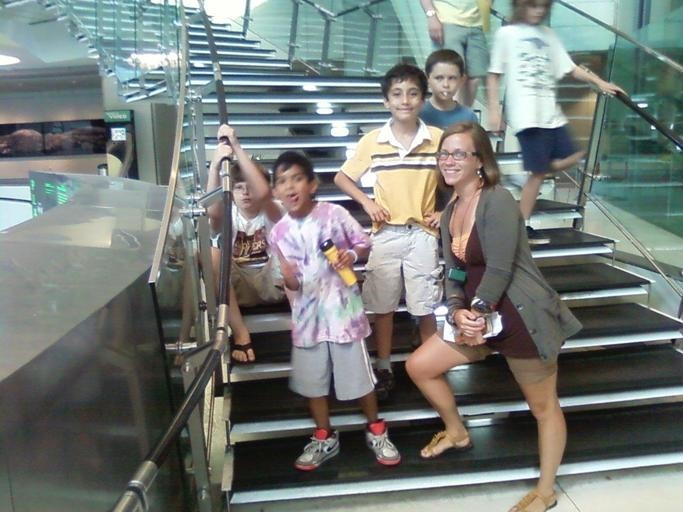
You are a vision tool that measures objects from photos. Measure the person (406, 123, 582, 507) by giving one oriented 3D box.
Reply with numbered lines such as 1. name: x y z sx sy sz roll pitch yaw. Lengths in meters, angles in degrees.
1. person: 0.655 0.301 2.329 0.646 1.732 0.381 7 18 35

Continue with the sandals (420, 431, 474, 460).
1. sandals: 0.506 0.913 2.589 0.243 0.100 0.108 -13 14 5

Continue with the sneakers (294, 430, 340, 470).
1. sneakers: -0.111 0.916 2.521 0.102 0.140 0.281 6 11 36

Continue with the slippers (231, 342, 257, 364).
1. slippers: -0.516 0.500 2.811 0.125 0.105 0.151 -5 14 -11

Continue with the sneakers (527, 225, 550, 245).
1. sneakers: 1.251 -0.152 3.437 0.142 0.098 0.279 -1 6 2

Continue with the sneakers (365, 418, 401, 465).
1. sneakers: 0.186 0.878 2.564 0.112 0.141 0.246 -16 20 -27

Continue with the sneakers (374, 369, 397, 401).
1. sneakers: 0.237 0.667 2.736 0.067 0.190 0.086 -4 25 -5

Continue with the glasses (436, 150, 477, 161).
1. glasses: 0.498 -0.438 2.286 0.158 0.048 0.042 1 15 16

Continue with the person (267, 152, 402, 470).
1. person: -0.031 0.255 2.454 0.529 1.464 0.372 -5 15 -8

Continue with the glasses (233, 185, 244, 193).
1. glasses: -0.548 -0.364 2.863 0.048 0.034 0.055 15 53 13

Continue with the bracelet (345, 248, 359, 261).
1. bracelet: 0.047 -0.004 2.357 0.051 0.036 0.050 -3 1 -6
